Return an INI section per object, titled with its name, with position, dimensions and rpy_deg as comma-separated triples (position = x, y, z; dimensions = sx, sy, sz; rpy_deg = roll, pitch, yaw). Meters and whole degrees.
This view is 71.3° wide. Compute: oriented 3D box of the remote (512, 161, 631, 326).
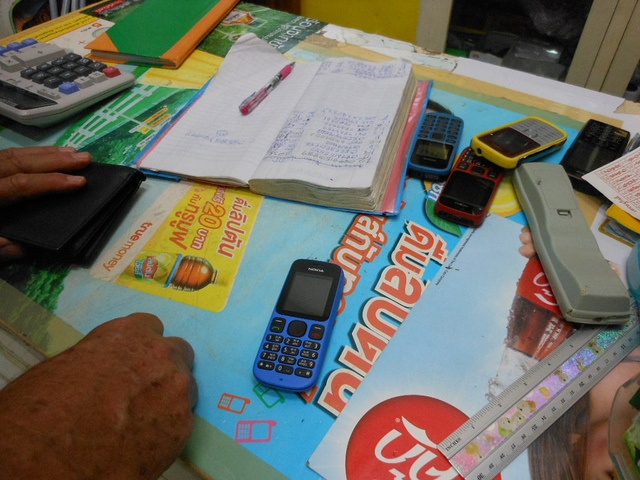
[remote]
position = 0.364, 0.000, 0.681
dimensions = 0.087, 0.062, 0.260
rpy_deg = -7, 49, 5

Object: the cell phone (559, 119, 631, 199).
[cell phone]
position = 0.476, -0.155, 0.776
dimensions = 0.085, 0.035, 0.176
rpy_deg = 27, 68, 23
